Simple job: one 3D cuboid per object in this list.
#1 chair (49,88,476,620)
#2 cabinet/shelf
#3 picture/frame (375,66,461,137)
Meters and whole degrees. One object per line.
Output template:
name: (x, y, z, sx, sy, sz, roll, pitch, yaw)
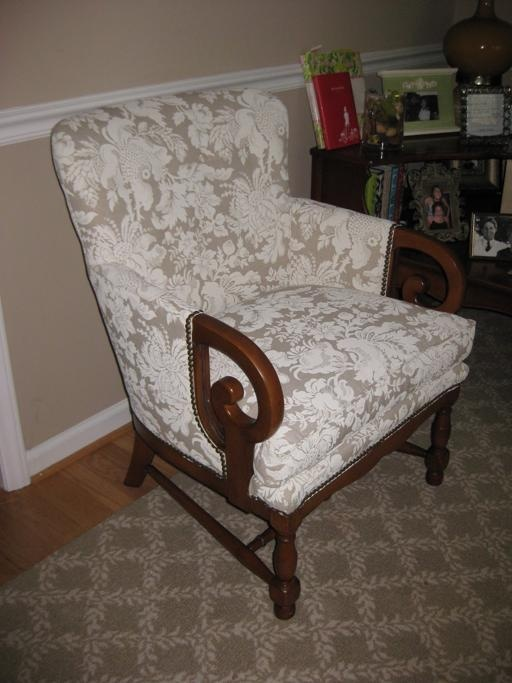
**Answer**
chair: (0.056, -0.035, 1.386, 0.775, 1.032, 0.707, -29, 38, -35)
cabinet/shelf: (0.546, -0.643, 2.096, 0.776, 0.351, 0.434, -21, 39, -26)
picture/frame: (0.623, -0.915, 2.174, 0.360, 0.281, 0.040, -11, 17, -20)
